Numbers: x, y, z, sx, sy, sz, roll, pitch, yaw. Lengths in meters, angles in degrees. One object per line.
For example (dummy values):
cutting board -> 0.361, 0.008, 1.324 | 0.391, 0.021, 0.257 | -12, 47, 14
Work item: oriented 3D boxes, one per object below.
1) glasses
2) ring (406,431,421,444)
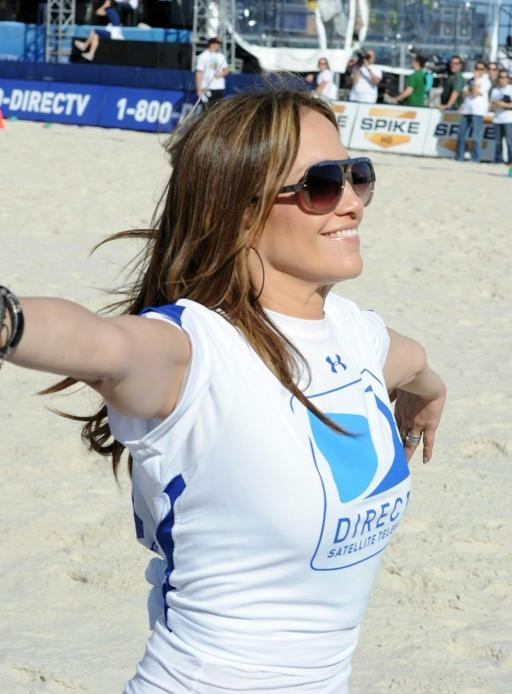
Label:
glasses -> 0.109, -0.280, 1.649 | 0.187, 0.067, 0.164 | -5, 2, 38
ring -> 0.416, 0.243, 2.323 | 0.031, 0.028, 0.037 | 3, -6, -4
